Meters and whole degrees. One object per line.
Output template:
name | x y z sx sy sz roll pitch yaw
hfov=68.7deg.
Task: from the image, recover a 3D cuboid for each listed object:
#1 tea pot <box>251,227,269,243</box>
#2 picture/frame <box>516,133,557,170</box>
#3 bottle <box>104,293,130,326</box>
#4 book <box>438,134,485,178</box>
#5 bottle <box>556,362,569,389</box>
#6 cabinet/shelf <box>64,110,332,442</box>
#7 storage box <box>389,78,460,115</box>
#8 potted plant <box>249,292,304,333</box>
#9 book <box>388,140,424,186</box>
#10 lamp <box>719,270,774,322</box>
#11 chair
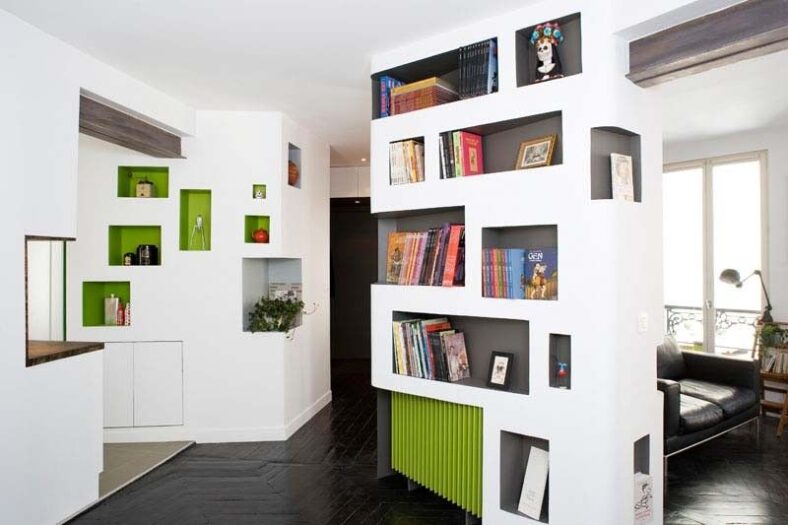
tea pot | -1.475 -0.295 6.337 0.190 0.183 0.147 -3 5 -26
picture/frame | 1.127 -0.872 4.538 0.338 0.296 0.037 1 -10 38
bottle | -3.012 0.525 6.251 0.329 0.359 0.120 2 -5 -30
book | 0.574 -0.841 4.992 0.343 0.451 0.463 0 2 36
bottle | 1.289 0.852 4.395 0.061 0.184 0.114 -3 13 -13
cabinet/shelf | -2.338 0.510 6.954 2.434 3.292 1.564 -3 -21 -2
storage box | 0.229 -1.438 5.017 0.375 0.100 0.414 -1 4 36
potted plant | -1.313 0.573 6.308 0.406 0.333 0.477 2 2 22
book | 0.085 -0.892 5.107 0.433 0.454 0.335 -2 12 -11
lamp | 4.274 0.369 7.001 0.599 0.585 0.504 9 15 36
chair | 3.018 1.440 6.164 1.758 1.039 1.024 -3 4 -32
